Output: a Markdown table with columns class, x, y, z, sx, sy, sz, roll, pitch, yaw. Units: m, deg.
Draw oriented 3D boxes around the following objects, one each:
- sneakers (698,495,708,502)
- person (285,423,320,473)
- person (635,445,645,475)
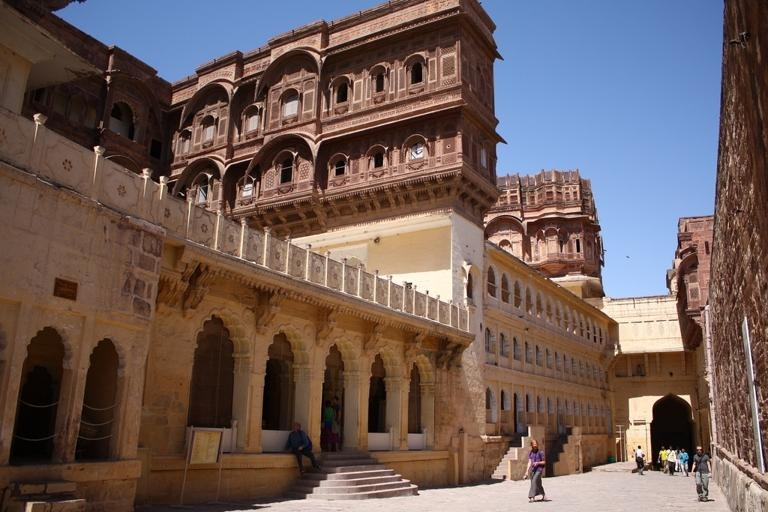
| class | x | y | z | sx | sy | sz | roll | pitch | yaw |
| --- | --- | --- | --- | --- | --- | --- | --- | --- | --- |
| sneakers | 11.068 | 8.329 | 21.095 | 0.316 | 0.232 | 0.129 | 5 | -33 | -40 |
| person | -2.591 | 6.097 | 19.546 | 1.002 | 1.527 | 0.649 | 13 | -23 | -33 |
| person | 14.969 | 11.845 | 35.587 | 0.350 | 1.456 | 1.156 | -5 | -20 | 16 |
